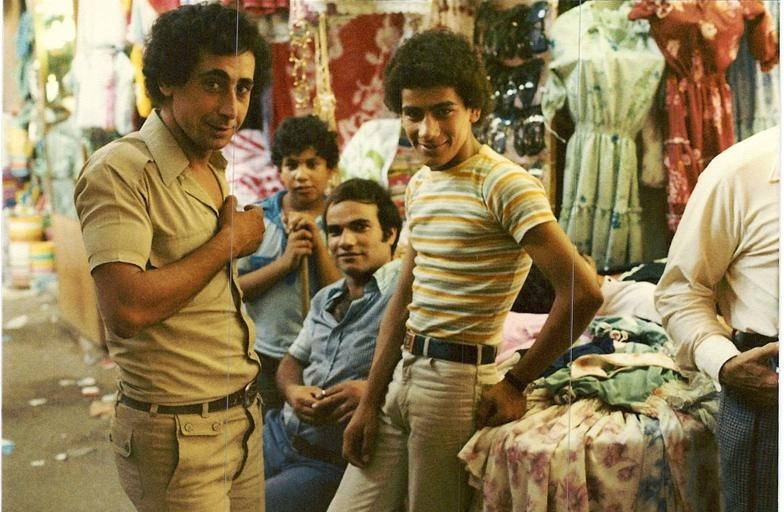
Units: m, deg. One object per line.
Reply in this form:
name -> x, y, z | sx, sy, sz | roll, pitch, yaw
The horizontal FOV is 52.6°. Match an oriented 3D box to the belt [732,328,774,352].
belt -> 1.247, 0.286, 2.743 | 0.090, 0.072, 0.094 | -3, 6, -17

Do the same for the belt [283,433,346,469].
belt -> -0.251, 0.663, 2.728 | 0.126, 0.099, 0.129 | 1, 14, 2
